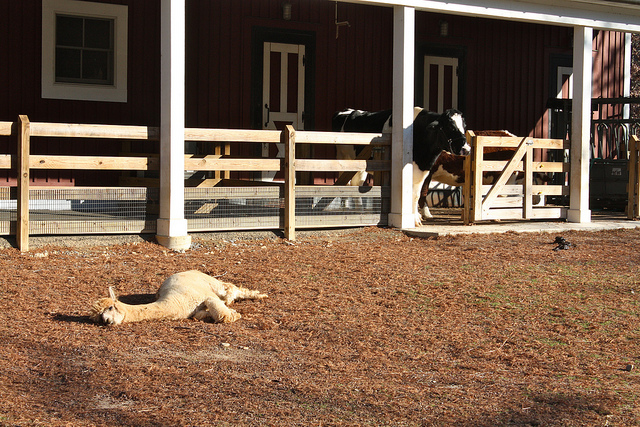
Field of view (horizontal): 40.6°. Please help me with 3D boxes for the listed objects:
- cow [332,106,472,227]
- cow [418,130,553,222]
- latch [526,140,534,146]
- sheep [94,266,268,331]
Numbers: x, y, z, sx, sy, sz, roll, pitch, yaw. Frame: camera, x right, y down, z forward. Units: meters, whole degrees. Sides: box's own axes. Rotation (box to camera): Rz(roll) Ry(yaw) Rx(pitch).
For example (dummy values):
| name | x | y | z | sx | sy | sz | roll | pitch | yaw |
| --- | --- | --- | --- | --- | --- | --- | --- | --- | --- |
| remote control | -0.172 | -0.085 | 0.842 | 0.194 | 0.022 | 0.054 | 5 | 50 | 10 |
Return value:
| name | x | y | z | sx | sy | sz | roll | pitch | yaw |
| --- | --- | --- | --- | --- | --- | --- | --- | --- | --- |
| cow | 1.353 | -0.853 | 15.006 | 2.645 | 2.133 | 0.751 | 8 | 19 | 36 |
| cow | 3.020 | -0.814 | 15.871 | 1.699 | 1.101 | 0.543 | 10 | 30 | 6 |
| latch | 3.594 | -1.210 | 14.809 | 0.037 | 0.102 | 0.143 | 12 | 19 | 40 |
| sheep | -1.566 | 0.991 | 9.802 | 0.682 | 0.570 | 1.303 | -7 | 7 | 40 |
